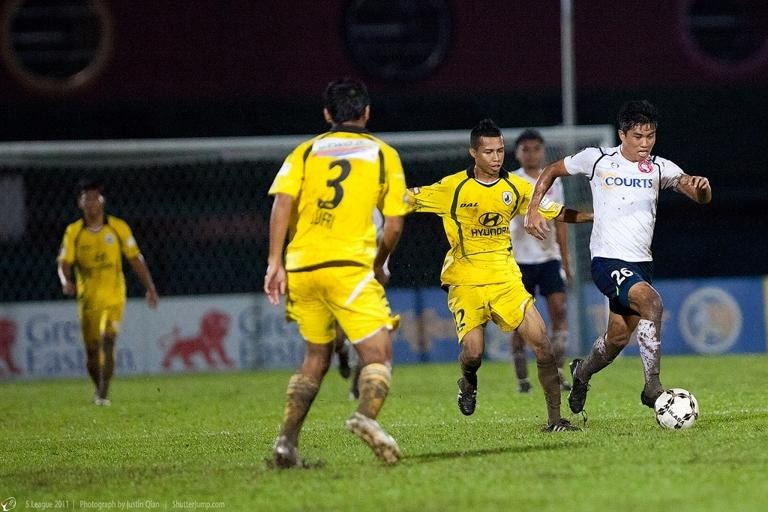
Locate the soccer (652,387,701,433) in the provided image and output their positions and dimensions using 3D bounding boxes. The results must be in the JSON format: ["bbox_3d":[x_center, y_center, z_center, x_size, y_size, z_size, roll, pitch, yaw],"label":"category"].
[{"bbox_3d":[3.205,1.680,12.516,0.415,0.438,0.420,2,-11,16],"label":"soccer"}]

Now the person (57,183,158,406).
[{"bbox_3d":[-3.600,0.472,14.808,1.152,2.540,0.515,-1,1,-8],"label":"person"}]

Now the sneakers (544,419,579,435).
[{"bbox_3d":[1.928,1.858,12.515,0.377,0.170,0.147,-7,-8,17],"label":"sneakers"}]

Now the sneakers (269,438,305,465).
[{"bbox_3d":[-0.984,2.056,11.745,0.158,0.201,0.439,-16,-30,18],"label":"sneakers"}]

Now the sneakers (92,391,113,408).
[{"bbox_3d":[-3.594,1.827,14.653,0.279,0.145,0.234,-1,1,7],"label":"sneakers"}]

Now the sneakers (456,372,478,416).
[{"bbox_3d":[0.983,1.596,13.364,0.180,0.496,0.217,-1,1,-1],"label":"sneakers"}]

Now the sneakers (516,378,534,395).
[{"bbox_3d":[1.870,1.691,15.064,0.164,0.182,0.176,-1,-10,-4],"label":"sneakers"}]
